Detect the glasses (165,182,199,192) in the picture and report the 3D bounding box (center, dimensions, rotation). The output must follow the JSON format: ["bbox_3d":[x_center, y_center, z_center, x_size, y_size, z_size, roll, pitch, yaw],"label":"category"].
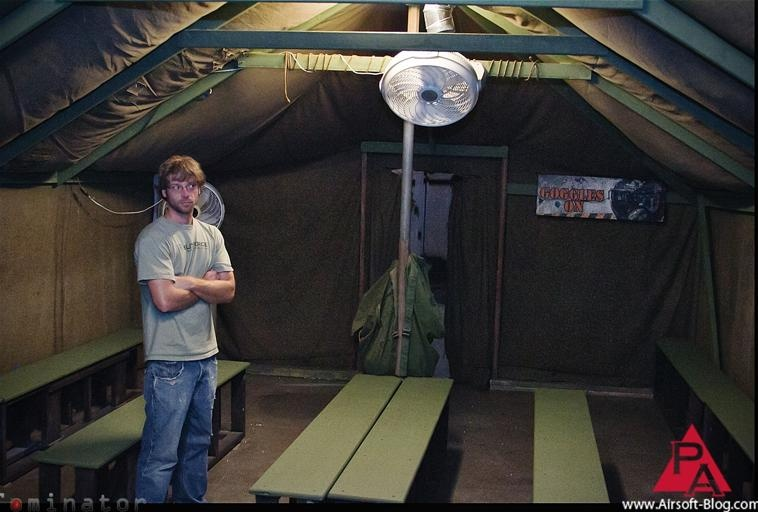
[{"bbox_3d":[-1.466,-0.515,5.183,0.232,0.086,0.072,-1,9,-17],"label":"glasses"}]

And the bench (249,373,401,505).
[{"bbox_3d":[-0.349,1.486,5.738,0.533,0.287,1.866,4,9,20],"label":"bench"}]

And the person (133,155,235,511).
[{"bbox_3d":[-1.523,0.602,5.253,0.387,2.681,0.840,9,11,42],"label":"person"}]
